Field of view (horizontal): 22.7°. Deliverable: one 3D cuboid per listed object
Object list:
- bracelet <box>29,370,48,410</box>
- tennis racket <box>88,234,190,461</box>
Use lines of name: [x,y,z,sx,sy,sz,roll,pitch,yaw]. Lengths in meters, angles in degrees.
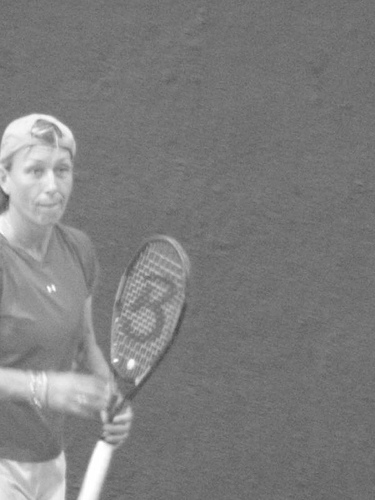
bracelet: [-0.631,0.597,3.928,0.087,0.300,0.025,-2,26,-13]
tennis racket: [-0.157,0.293,3.547,0.288,1.033,0.076,33,-25,-28]
